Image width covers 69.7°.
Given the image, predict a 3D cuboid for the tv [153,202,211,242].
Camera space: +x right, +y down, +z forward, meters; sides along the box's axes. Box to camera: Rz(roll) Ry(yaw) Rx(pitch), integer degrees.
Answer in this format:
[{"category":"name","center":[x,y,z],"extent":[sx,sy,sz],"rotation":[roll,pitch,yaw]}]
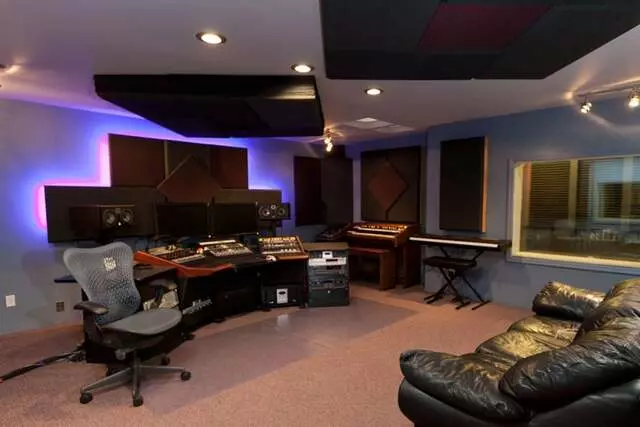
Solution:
[{"category":"tv","center":[-1.946,0.121,6.494],"extent":[0.772,0.518,0.087],"rotation":[-3,-1,-36]}]

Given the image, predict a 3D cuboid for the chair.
[{"category":"chair","center":[-1.989,1.116,4.818],"extent":[1.100,1.469,1.051],"rotation":[5,9,44]}]

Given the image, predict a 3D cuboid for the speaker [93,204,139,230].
[{"category":"speaker","center":[-2.594,0.043,5.822],"extent":[0.291,0.295,0.469],"rotation":[0,-1,22]}]

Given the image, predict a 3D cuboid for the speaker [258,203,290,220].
[{"category":"speaker","center":[-0.747,-0.025,7.489],"extent":[0.548,0.265,0.088],"rotation":[-6,4,-29]}]

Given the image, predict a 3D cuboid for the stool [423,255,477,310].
[{"category":"stool","center":[1.957,1.016,6.941],"extent":[0.684,0.627,0.514],"rotation":[3,1,40]}]

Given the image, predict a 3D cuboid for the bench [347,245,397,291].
[{"category":"bench","center":[0.837,0.931,7.983],"extent":[0.870,0.653,0.519],"rotation":[6,4,42]}]

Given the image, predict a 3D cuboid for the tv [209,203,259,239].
[{"category":"tv","center":[-1.321,0.103,6.901],"extent":[0.592,0.382,0.067],"rotation":[-2,2,-36]}]

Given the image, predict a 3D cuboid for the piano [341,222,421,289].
[{"category":"piano","center":[0.995,0.727,8.118],"extent":[0.850,1.003,1.344],"rotation":[-5,6,-36]}]
